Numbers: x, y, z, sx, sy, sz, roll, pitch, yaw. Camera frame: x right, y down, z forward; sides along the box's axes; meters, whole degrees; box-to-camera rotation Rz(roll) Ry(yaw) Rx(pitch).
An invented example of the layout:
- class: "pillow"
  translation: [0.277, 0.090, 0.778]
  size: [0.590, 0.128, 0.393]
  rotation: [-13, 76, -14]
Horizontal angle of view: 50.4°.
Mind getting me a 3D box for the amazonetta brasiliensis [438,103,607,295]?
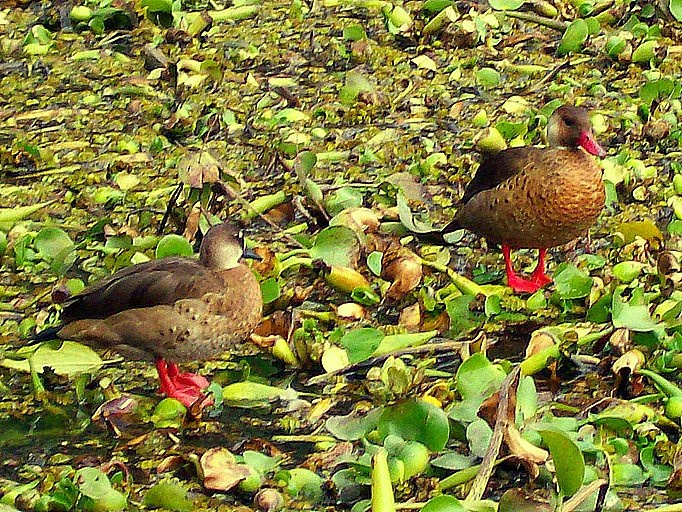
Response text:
- class: "amazonetta brasiliensis"
  translation: [1.028, -0.361, 4.050]
  size: [0.722, 0.912, 1.222]
  rotation: [-10, 16, -26]
